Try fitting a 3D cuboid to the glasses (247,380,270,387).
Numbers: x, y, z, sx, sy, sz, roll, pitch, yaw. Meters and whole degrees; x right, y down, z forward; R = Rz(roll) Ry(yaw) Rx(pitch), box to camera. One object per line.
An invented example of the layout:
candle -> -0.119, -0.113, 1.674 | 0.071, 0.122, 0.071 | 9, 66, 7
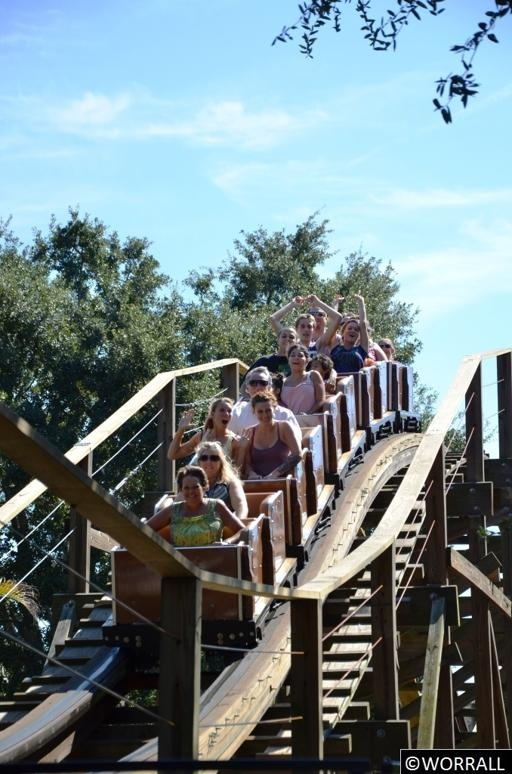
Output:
glasses -> 0.016, -0.018, 8.132 | 0.110, 0.034, 0.053 | -2, 0, 0
